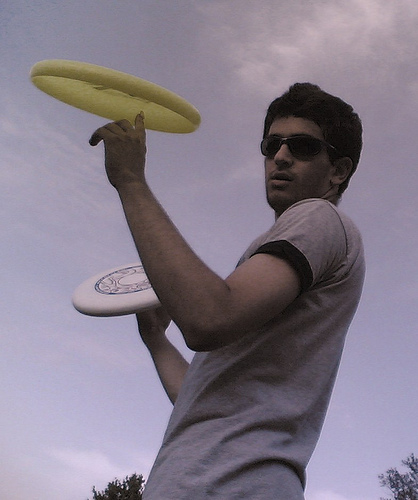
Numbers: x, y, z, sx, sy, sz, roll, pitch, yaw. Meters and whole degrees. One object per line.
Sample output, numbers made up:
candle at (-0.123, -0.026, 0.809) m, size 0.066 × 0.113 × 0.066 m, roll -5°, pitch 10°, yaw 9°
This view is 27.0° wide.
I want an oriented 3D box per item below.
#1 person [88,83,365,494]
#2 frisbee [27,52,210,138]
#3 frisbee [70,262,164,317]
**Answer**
person at (0.142, 0.000, 3.589) m, size 0.903 × 2.054 × 0.778 m, roll 4°, pitch -32°, yaw 18°
frisbee at (-0.384, -0.717, 4.010) m, size 0.686 × 0.118 × 0.630 m, roll 10°, pitch -10°, yaw 38°
frisbee at (-0.459, 0.208, 4.786) m, size 0.557 × 0.420 × 0.088 m, roll 2°, pitch -55°, yaw 16°
